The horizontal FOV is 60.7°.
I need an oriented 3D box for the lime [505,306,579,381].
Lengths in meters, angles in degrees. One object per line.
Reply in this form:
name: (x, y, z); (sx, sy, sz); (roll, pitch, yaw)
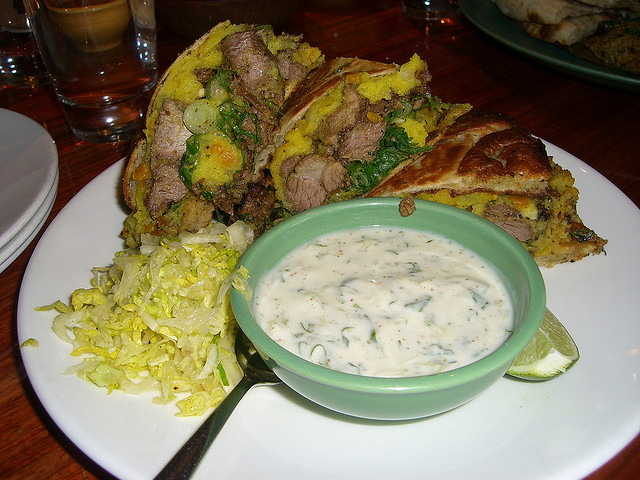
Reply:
lime: (0.997, 0.495, 2.503); (0.329, 0.318, 0.297); (3, 12, 5)

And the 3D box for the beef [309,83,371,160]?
beef: (0.106, -0.650, 3.046); (0.290, 0.434, 0.113); (13, 17, -12)

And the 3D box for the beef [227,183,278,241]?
beef: (-0.389, -0.200, 3.165); (0.224, 0.356, 0.160); (-19, 23, -37)

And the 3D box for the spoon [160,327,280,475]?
spoon: (-0.371, 0.666, 2.462); (0.200, 0.105, 0.943); (35, 46, 7)

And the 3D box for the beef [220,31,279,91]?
beef: (-0.381, -0.991, 2.974); (0.296, 0.308, 0.166); (-16, 27, -26)
